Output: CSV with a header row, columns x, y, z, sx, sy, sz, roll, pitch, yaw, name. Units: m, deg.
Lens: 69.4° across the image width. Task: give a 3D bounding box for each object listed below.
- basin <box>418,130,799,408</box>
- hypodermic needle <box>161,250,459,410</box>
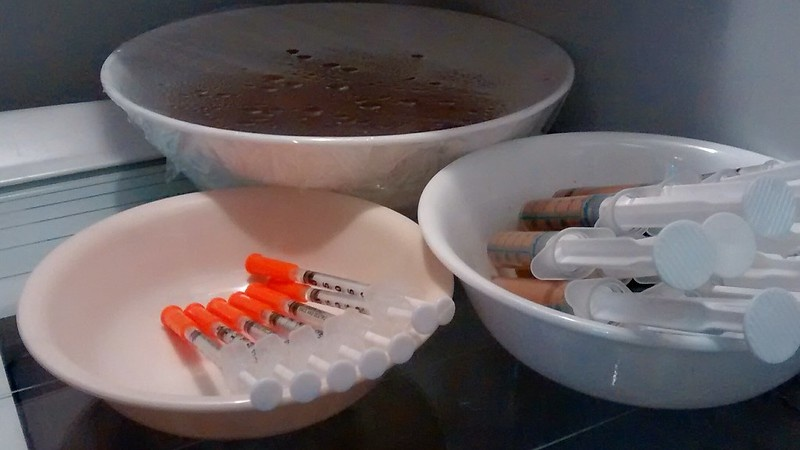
x,y,z,sx,sy,sz,roll,pitch,yaw,name
0.231,0.050,0.802,0.456,0.151,0.414,-6,38,-6,basin
-0.118,0.152,0.802,0.210,0.077,0.379,-24,15,-32,hypodermic needle
